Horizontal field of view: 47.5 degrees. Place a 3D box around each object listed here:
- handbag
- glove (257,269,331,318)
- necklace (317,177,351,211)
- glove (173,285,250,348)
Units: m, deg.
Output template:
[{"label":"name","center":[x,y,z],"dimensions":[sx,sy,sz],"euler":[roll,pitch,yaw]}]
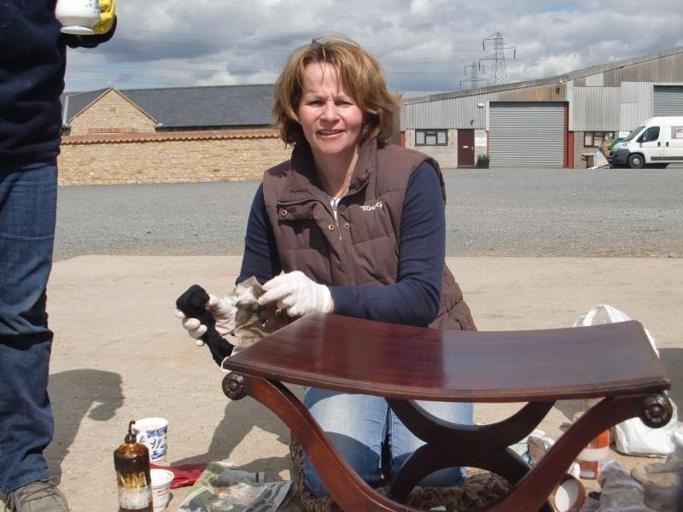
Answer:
[{"label":"handbag","center":[1.379,0.529,3.726],"dimensions":[0.493,0.808,0.273],"euler":[-11,-14,28]},{"label":"glove","center":[-0.185,0.171,3.109],"dimensions":[0.239,0.120,0.173],"euler":[20,-5,-31]},{"label":"necklace","center":[-0.032,-0.263,3.375],"dimensions":[0.104,0.137,0.058],"euler":[-2,-27,0]},{"label":"glove","center":[-0.544,0.242,3.182],"dimensions":[0.235,0.255,0.433],"euler":[-6,-13,-5]}]
